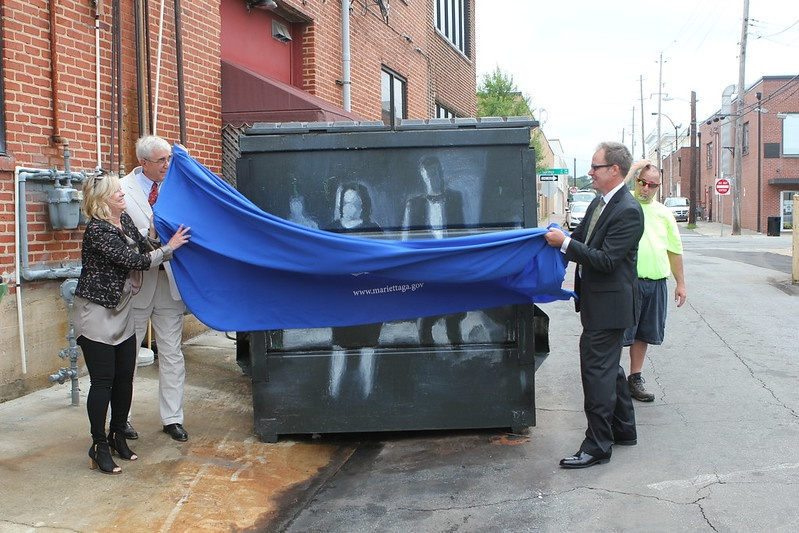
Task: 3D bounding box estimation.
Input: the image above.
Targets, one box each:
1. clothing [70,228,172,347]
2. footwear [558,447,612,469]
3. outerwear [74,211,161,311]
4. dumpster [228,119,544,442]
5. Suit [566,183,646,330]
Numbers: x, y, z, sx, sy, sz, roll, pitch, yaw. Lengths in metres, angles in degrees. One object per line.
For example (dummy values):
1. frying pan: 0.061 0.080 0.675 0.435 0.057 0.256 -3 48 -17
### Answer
1. clothing: -2.458 0.098 6.603 0.303 0.520 0.404 6 -24 40
2. footwear: 1.634 1.702 6.593 0.473 0.189 0.167 2 -6 -9
3. outerwear: -2.440 -0.055 6.594 0.610 0.687 0.610 21 34 17
4. dumpster: -0.427 0.028 7.677 3.454 3.174 1.956 -2 2 -24
5. Suit: 1.813 -0.071 6.597 0.628 1.254 0.362 3 12 15
